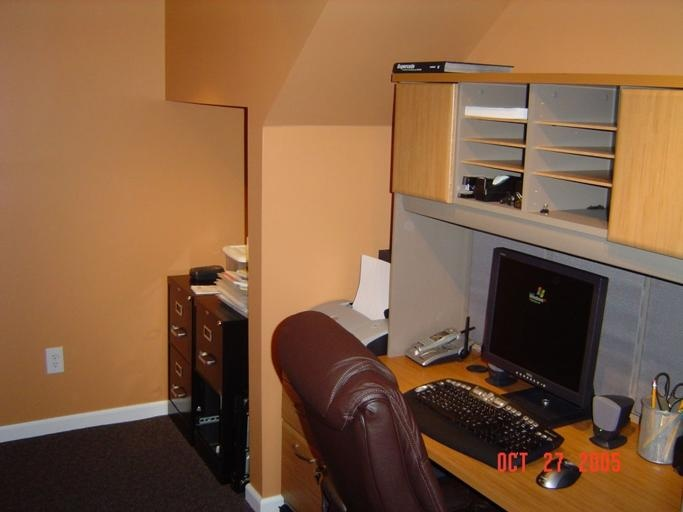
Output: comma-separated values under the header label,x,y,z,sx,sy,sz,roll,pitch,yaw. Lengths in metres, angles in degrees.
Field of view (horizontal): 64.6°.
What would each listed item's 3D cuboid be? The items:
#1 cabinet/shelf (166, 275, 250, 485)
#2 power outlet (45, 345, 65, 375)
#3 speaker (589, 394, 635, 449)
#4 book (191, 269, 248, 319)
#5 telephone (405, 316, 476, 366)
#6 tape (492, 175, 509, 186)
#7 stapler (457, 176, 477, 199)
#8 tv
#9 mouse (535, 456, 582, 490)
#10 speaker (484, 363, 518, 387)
label,x,y,z,sx,sy,sz,roll,pitch,yaw
cabinet/shelf,-0.757,0.731,3.145,0.347,0.813,0.918,-5,20,-23
power outlet,-1.814,0.664,3.430,0.107,0.181,0.014,-4,14,-21
speaker,0.983,0.589,1.959,0.137,0.172,0.115,-4,11,-18
book,-0.669,0.209,3.033,0.281,0.074,0.283,-8,19,-35
telephone,0.487,0.368,2.564,0.311,0.253,0.224,-2,7,-9
tape,0.610,-0.293,2.086,0.040,0.013,0.052,-18,26,24
stapler,0.493,-0.265,2.131,0.084,0.117,0.063,-2,9,-27
tv,0.806,0.328,2.118,0.264,0.573,0.533,-5,13,-27
mouse,0.715,0.719,1.789,0.169,0.055,0.118,-6,-3,-43
speaker,0.700,0.517,2.383,0.098,0.108,0.102,-11,18,-31
